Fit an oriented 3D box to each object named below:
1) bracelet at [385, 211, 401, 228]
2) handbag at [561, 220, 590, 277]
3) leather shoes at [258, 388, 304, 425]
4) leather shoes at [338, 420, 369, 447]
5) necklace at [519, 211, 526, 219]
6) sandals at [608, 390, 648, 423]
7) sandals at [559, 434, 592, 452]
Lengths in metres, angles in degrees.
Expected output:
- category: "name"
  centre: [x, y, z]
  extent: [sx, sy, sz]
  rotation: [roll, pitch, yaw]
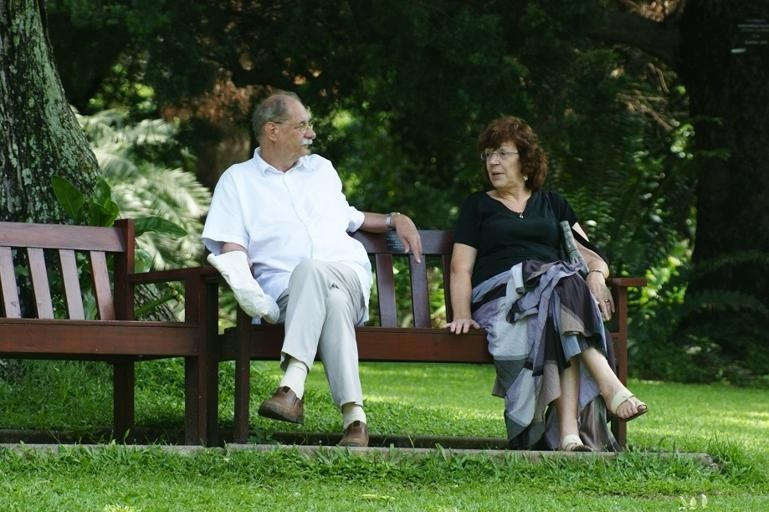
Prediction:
- category: "bracelet"
  centre: [0.062, -0.320, 10.116]
  extent: [0.088, 0.133, 0.123]
  rotation: [-4, -46, 7]
- category: "handbag"
  centre: [1.509, -0.073, 9.995]
  extent: [0.102, 0.358, 0.344]
  rotation: [-13, 17, 3]
- category: "leather shoes"
  centre: [-0.725, 1.091, 9.067]
  extent: [0.183, 0.181, 0.367]
  rotation: [9, -11, 30]
- category: "leather shoes"
  centre: [-0.224, 1.286, 9.119]
  extent: [0.203, 0.177, 0.227]
  rotation: [1, 6, -4]
- category: "necklace"
  centre: [1.108, -0.334, 10.048]
  extent: [0.047, 0.037, 0.020]
  rotation: [-1, -12, -14]
- category: "sandals"
  centre: [1.826, 1.109, 9.376]
  extent: [0.271, 0.272, 0.294]
  rotation: [3, 6, 12]
- category: "sandals"
  centre: [1.428, 1.387, 9.238]
  extent: [0.216, 0.113, 0.207]
  rotation: [2, 6, -2]
